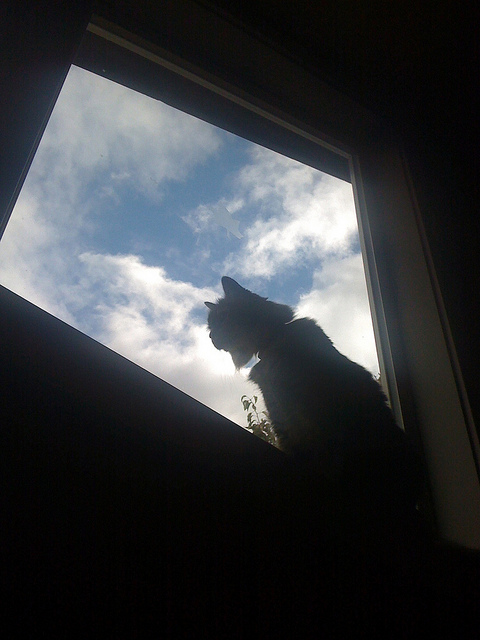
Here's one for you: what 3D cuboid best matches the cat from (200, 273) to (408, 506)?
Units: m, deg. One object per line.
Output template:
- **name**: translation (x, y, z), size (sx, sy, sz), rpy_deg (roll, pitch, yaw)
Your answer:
- **cat**: translation (0.267, 0.235, 2.139), size (0.379, 1.371, 0.601), rpy_deg (-30, -53, -5)
